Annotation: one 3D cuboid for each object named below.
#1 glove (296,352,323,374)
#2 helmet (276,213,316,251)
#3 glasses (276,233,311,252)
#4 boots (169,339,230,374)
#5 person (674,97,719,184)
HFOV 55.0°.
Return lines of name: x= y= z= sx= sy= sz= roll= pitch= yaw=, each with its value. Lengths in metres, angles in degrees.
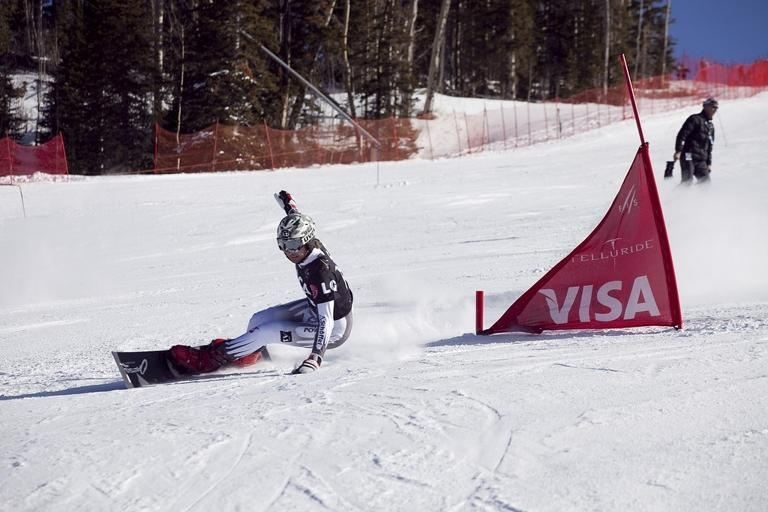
glove: x=-0.854 y=1.267 z=8.635 sx=0.154 sy=0.115 sz=0.270 roll=35 pitch=52 yaw=15
helmet: x=-1.017 y=-0.292 z=8.890 sx=0.364 sy=0.417 sz=0.465 roll=0 pitch=9 yaw=23
glasses: x=-1.038 y=-0.162 z=8.785 sx=0.425 sy=0.179 sz=0.202 roll=-6 pitch=7 yaw=-5
boots: x=-2.219 y=1.221 z=8.988 sx=0.834 sy=0.313 sz=0.361 roll=2 pitch=-32 yaw=-24
person: x=5.495 y=-2.035 z=12.951 sx=0.671 sy=1.441 sz=1.054 roll=-2 pitch=8 yaw=25
